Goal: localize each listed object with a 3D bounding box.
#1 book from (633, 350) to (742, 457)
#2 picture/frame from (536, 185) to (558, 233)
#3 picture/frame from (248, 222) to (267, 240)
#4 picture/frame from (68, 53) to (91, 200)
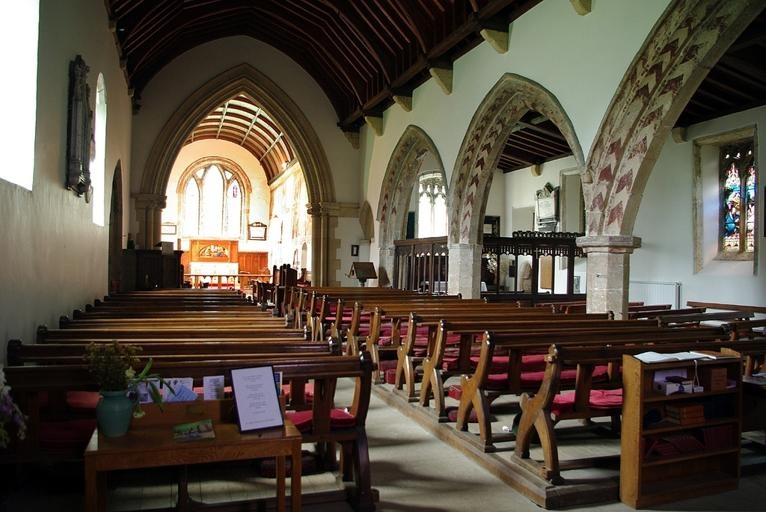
[{"bbox_3d":[2.441,1.212,4.787,1.072,0.691,0.197,-1,-1,-17],"label":"book"},{"bbox_3d":[4.668,-1.387,16.711,0.302,1.390,0.977,-1,-1,-13],"label":"picture/frame"},{"bbox_3d":[-5.397,-1.056,25.153,0.800,0.771,0.105,-1,-1,-25],"label":"picture/frame"},{"bbox_3d":[-3.670,-1.560,7.032,0.255,1.589,0.874,-1,-1,-26],"label":"picture/frame"}]
